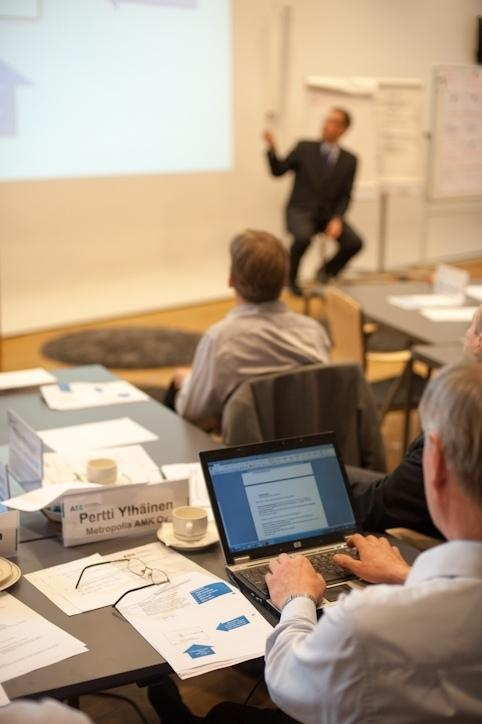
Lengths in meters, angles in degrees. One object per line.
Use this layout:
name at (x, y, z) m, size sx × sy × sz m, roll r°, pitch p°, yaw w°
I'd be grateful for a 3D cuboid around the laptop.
laptop at (0.073, 0.247, 1.033) m, size 0.254 × 0.260 × 0.187 m, roll -8°, pitch 8°, yaw -23°

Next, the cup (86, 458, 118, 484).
cup at (-0.303, 0.237, 1.266) m, size 0.064 × 0.044 × 0.077 m, roll -5°, pitch 14°, yaw -18°

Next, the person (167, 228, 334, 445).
person at (0.049, -0.139, 2.421) m, size 0.668 × 0.822 × 0.584 m, roll -10°, pitch 21°, yaw -21°

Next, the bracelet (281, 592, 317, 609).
bracelet at (0.079, 0.329, 0.820) m, size 0.033 × 0.008 × 0.031 m, roll -16°, pitch 18°, yaw 10°

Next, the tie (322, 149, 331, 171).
tie at (0.657, -1.530, 4.437) m, size 0.068 × 0.134 × 0.033 m, roll -12°, pitch 10°, yaw -17°
